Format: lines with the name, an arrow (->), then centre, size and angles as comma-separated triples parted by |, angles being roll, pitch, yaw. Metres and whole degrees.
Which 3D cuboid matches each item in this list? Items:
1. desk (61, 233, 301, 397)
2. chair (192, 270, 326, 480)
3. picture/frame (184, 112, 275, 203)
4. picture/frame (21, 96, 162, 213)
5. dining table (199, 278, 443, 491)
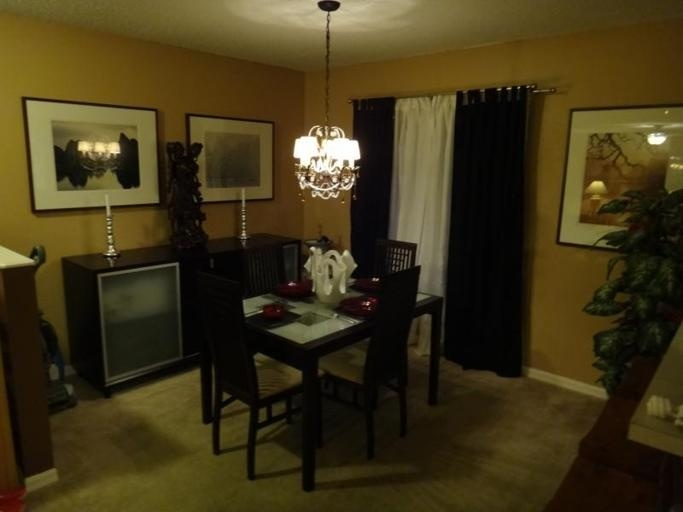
desk -> -1.476, 0.467, 5.065 | 0.570, 0.964, 1.935 | 8, 12, 36
chair -> -0.539, 0.724, 3.827 | 0.721, 1.333, 0.656 | -14, 25, -37
picture/frame -> -1.137, -0.985, 5.360 | 0.913, 0.783, 0.059 | -16, 25, -42
picture/frame -> -2.122, -0.855, 4.515 | 0.984, 0.839, 0.065 | -10, 18, -42
dining table -> -0.136, 0.912, 4.275 | 1.481, 0.931, 1.501 | -5, 6, 41
